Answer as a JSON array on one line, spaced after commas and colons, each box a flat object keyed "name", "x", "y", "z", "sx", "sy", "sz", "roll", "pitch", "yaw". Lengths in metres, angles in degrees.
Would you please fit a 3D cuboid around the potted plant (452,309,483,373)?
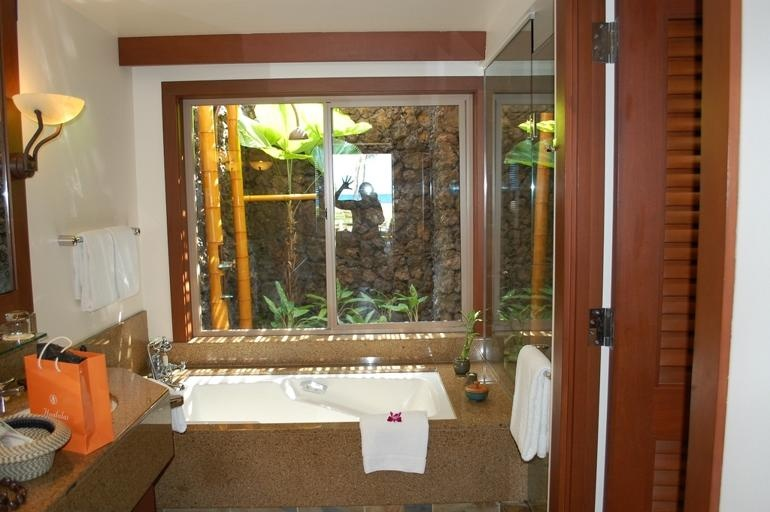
[{"name": "potted plant", "x": 0.590, "y": 0.572, "z": 4.177, "sx": 0.189, "sy": 0.429, "sz": 0.530, "roll": -2, "pitch": 7, "yaw": 11}]

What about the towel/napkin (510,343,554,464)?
[{"name": "towel/napkin", "x": 0.751, "y": 0.795, "z": 2.996, "sx": 0.177, "sy": 0.603, "sz": 0.481, "roll": -3, "pitch": 7, "yaw": 5}]

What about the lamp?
[{"name": "lamp", "x": -1.774, "y": -0.612, "z": 3.069, "sx": 0.331, "sy": 0.417, "sz": 0.346, "roll": -3, "pitch": 0, "yaw": 9}]

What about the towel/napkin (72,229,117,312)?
[{"name": "towel/napkin", "x": -1.750, "y": 0.075, "z": 3.518, "sx": 0.141, "sy": 0.459, "sz": 0.282, "roll": -2, "pitch": 7, "yaw": 6}]

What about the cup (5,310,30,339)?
[{"name": "cup", "x": -1.722, "y": 0.315, "z": 2.801, "sx": 0.134, "sy": 0.148, "sz": 0.134, "roll": -1, "pitch": -1, "yaw": 0}]

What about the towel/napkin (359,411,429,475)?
[{"name": "towel/napkin", "x": 0.049, "y": 1.046, "z": 3.240, "sx": 0.324, "sy": 0.325, "sz": 0.120, "roll": -2, "pitch": 0, "yaw": 3}]

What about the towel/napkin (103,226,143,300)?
[{"name": "towel/napkin", "x": -1.646, "y": 0.035, "z": 3.721, "sx": 0.106, "sy": 0.376, "sz": 0.316, "roll": -1, "pitch": 5, "yaw": 10}]
